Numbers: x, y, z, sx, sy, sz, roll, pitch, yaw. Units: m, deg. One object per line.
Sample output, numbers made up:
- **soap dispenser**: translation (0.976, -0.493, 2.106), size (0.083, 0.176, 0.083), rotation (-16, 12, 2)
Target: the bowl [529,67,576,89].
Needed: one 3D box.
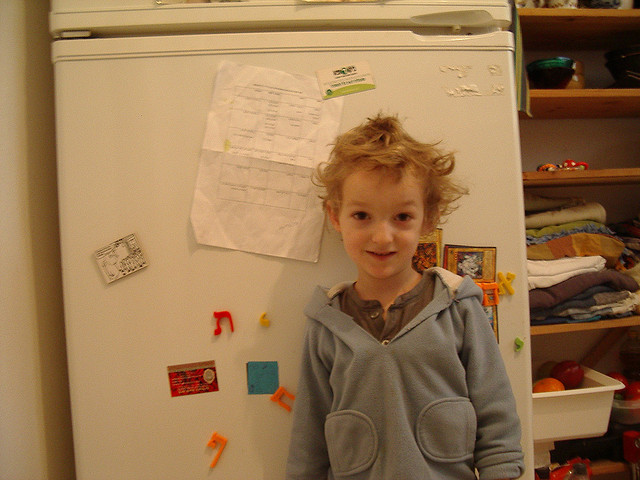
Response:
- **bowl**: translation (0.717, -0.496, 1.612), size (0.084, 0.038, 0.084), rotation (-3, 5, 0)

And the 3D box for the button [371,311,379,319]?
- **button**: translation (0.120, 0.163, 1.144), size (0.017, 0.016, 0.004), rotation (-4, 0, 4)

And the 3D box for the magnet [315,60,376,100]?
- **magnet**: translation (0.055, -0.370, 1.228), size (0.175, 0.080, 0.107), rotation (-4, 16, -11)

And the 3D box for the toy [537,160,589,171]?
- **toy**: translation (0.772, -0.235, 1.656), size (0.121, 0.035, 0.168), rotation (-3, 0, 35)

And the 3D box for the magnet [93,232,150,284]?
- **magnet**: translation (-0.468, 0.043, 1.227), size (0.145, 0.100, 0.029), rotation (-22, 1, 0)

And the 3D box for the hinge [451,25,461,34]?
- **hinge**: translation (0.327, -0.501, 1.255), size (0.016, 0.015, 0.015), rotation (2, -7, 8)

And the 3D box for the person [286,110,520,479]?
- **person**: translation (0.171, 0.103, 1.178), size (0.510, 0.785, 0.216), rotation (-4, 0, 12)

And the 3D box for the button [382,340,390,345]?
- **button**: translation (0.140, 0.216, 1.117), size (0.014, 0.009, 0.007), rotation (-3, 0, 6)
